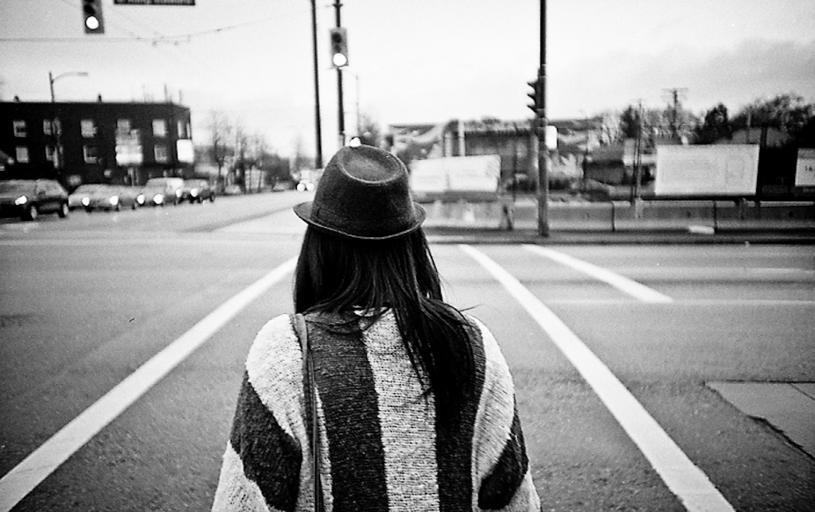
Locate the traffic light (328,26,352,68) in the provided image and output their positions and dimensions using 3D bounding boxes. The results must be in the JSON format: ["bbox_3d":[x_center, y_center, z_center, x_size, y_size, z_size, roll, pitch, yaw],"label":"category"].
[{"bbox_3d":[-1.477,-4.667,14.078,0.442,0.881,0.495,-10,15,-35],"label":"traffic light"}]

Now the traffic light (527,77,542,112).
[{"bbox_3d":[3.756,-4.814,18.979,0.454,0.972,0.944,5,14,24],"label":"traffic light"}]
